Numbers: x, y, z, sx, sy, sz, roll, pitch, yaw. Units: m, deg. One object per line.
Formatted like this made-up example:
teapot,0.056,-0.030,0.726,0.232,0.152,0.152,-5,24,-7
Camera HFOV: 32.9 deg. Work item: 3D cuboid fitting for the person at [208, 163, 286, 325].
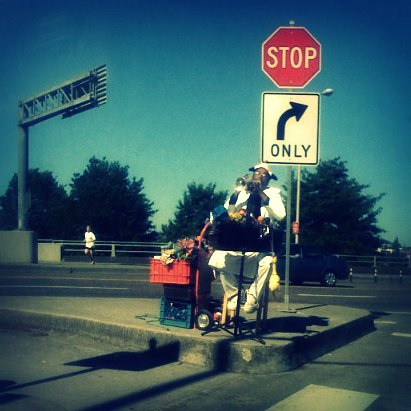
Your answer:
person,0.482,0.449,7.972,0.839,1.926,0.779,1,-2,5

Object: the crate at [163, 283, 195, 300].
crate,-0.329,1.033,8.353,0.445,0.176,0.113,1,-2,32

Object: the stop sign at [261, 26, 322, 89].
stop sign,1.140,-1.999,9.318,0.779,1.028,0.048,2,-26,5

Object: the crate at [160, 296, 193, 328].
crate,-0.361,1.290,8.402,0.517,0.334,0.104,0,-2,41
